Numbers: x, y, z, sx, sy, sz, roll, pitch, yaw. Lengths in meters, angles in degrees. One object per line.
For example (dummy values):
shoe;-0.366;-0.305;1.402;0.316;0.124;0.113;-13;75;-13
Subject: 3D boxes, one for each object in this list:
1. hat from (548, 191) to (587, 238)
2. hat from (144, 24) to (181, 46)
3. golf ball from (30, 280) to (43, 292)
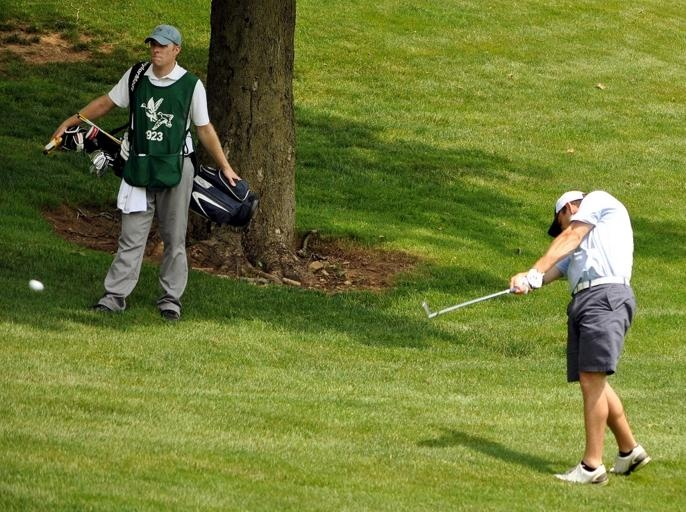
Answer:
hat;2.808;-0.482;19.549;0.409;0.661;0.422;-14;21;-25
hat;-2.415;-2.991;20.937;0.296;0.216;0.409;11;4;38
golf ball;-4.322;0.442;21.732;0.157;0.090;0.158;15;15;-4
